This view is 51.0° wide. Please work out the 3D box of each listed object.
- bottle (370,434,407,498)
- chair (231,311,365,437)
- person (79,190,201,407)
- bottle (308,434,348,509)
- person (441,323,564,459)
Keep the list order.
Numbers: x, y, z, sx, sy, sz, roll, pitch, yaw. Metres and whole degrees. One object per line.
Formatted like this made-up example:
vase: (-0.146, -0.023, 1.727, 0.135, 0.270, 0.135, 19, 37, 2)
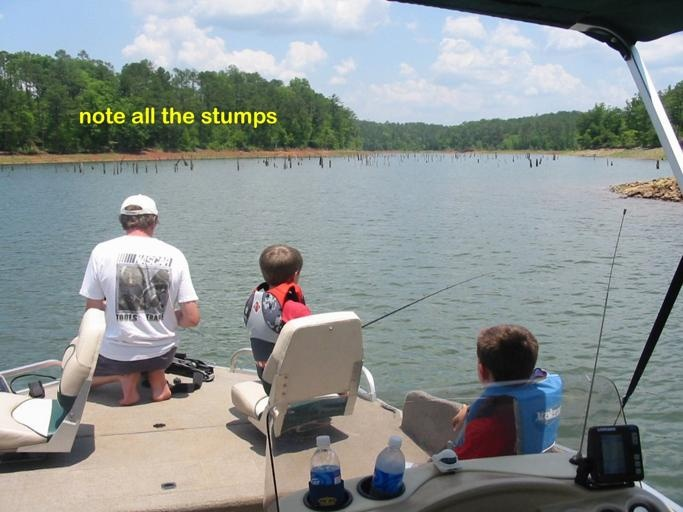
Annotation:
bottle: (0.233, 1.048, 3.530, 0.170, 0.288, 0.105, 0, 7, 0)
chair: (-0.324, 0.790, 5.110, 0.734, 0.851, 1.054, -6, 10, -29)
person: (-1.744, 0.404, 6.204, 0.967, 1.833, 0.507, -2, 7, -19)
bottle: (-0.061, 1.053, 3.470, 0.135, 0.348, 0.213, 6, 9, 41)
person: (0.919, 0.808, 3.926, 0.580, 0.904, 0.652, 10, 31, 21)
